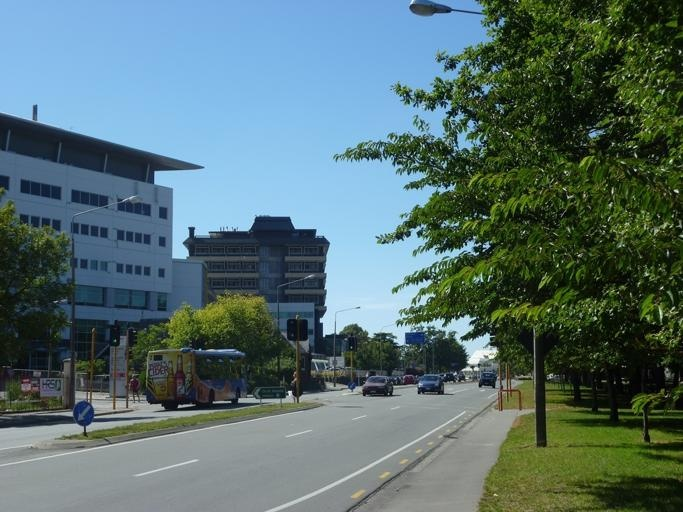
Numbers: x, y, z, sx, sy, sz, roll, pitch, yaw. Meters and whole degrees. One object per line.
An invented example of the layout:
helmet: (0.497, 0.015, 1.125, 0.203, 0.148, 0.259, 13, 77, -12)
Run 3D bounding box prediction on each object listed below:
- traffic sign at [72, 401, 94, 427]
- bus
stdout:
traffic sign: (-7.744, 4.798, 28.428, 0.493, 0.736, 0.859, 0, -14, -7)
bus: (-7.365, 6.420, 47.891, 2.176, 3.144, 9.682, -1, -7, 7)
